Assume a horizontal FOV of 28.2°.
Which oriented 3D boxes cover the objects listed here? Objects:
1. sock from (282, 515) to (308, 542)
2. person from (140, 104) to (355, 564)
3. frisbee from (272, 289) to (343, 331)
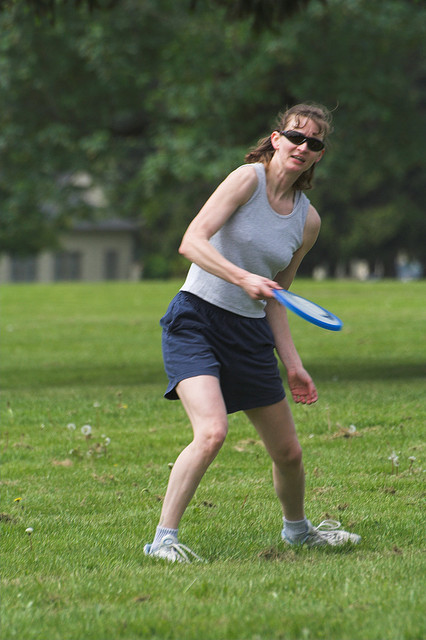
[{"bbox_3d":[0.362,0.921,3.757,0.087,0.109,0.125,1,7,21],"label":"sock"},{"bbox_3d":[0.138,0.064,3.440,0.753,1.911,0.932,0,4,13],"label":"person"},{"bbox_3d":[0.359,-0.038,3.241,0.240,0.167,0.563,0,3,7],"label":"frisbee"}]
